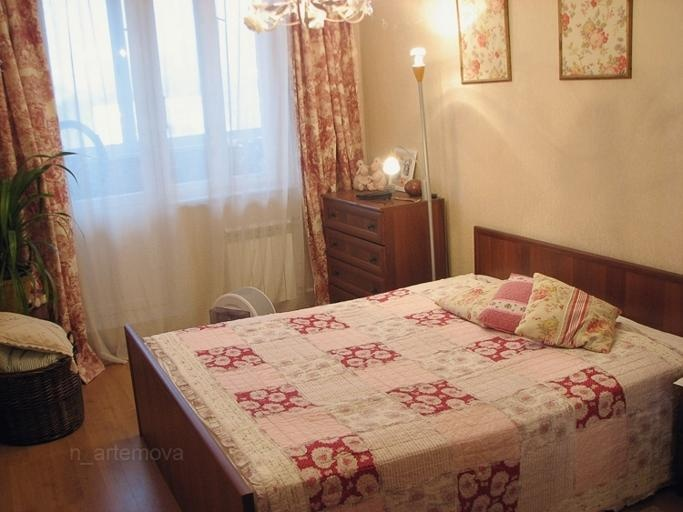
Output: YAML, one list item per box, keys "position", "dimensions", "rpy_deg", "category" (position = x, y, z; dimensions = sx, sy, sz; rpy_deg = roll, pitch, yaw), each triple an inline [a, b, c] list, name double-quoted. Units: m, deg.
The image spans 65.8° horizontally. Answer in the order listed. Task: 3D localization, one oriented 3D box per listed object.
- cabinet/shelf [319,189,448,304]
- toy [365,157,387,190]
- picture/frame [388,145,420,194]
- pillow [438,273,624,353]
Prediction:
- position: [0.347, -0.269, 4.590]
  dimensions: [0.808, 1.317, 1.198]
  rpy_deg: [-9, 15, -34]
  category: "cabinet/shelf"
- position: [0.304, -0.717, 4.586]
  dimensions: [0.171, 0.267, 0.260]
  rpy_deg: [-2, 17, 5]
  category: "toy"
- position: [0.518, -0.710, 4.337]
  dimensions: [0.044, 0.464, 0.335]
  rpy_deg: [-6, 18, -34]
  category: "picture/frame"
- position: [1.002, 0.289, 2.871]
  dimensions: [0.422, 0.156, 0.654]
  rpy_deg: [-25, 20, -27]
  category: "pillow"
